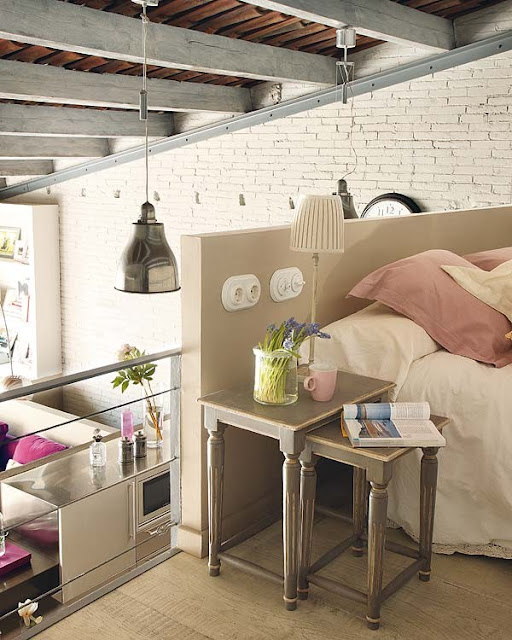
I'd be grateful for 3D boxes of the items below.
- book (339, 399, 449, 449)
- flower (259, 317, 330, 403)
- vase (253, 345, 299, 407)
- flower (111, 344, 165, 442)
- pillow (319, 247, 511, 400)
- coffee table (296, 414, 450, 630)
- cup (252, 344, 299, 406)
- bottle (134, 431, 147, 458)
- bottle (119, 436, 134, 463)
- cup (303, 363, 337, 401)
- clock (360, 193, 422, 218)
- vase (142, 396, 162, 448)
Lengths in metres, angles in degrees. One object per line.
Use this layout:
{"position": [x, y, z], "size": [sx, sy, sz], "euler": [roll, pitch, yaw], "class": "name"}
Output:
{"position": [0.354, 0.277, 1.525], "size": [0.180, 0.054, 0.172], "euler": [-2, 14, 0], "class": "book"}
{"position": [0.115, 0.121, 1.695], "size": [0.251, 0.224, 0.182], "euler": [-3, -2, 44], "class": "flower"}
{"position": [0.056, 0.154, 1.652], "size": [0.164, 0.157, 0.162], "euler": [2, 3, 25], "class": "vase"}
{"position": [-0.504, 0.358, 2.623], "size": [0.264, 0.449, 0.204], "euler": [14, -15, -29], "class": "flower"}
{"position": [0.644, -0.010, 2.242], "size": [0.718, 0.159, 0.473], "euler": [-30, 47, -28], "class": "pillow"}
{"position": [0.327, 0.561, 1.685], "size": [0.357, 0.436, 0.358], "euler": [4, 5, 45], "class": "coffee table"}
{"position": [0.066, 0.160, 1.721], "size": [0.162, 0.145, 0.150], "euler": [3, 1, 0], "class": "cup"}
{"position": [-0.520, 0.552, 2.604], "size": [0.055, 0.127, 0.071], "euler": [-3, 7, -11], "class": "bottle"}
{"position": [-0.583, 0.578, 2.603], "size": [0.062, 0.103, 0.097], "euler": [-4, 7, -14], "class": "bottle"}
{"position": [0.187, 0.182, 1.690], "size": [0.084, 0.080, 0.119], "euler": [0, -1, -9], "class": "cup"}
{"position": [1.120, -0.967, 4.828], "size": [0.551, 0.178, 0.111], "euler": [4, 9, 41], "class": "clock"}
{"position": [-0.479, 0.502, 2.722], "size": [0.118, 0.167, 0.107], "euler": [-2, 13, -9], "class": "vase"}
